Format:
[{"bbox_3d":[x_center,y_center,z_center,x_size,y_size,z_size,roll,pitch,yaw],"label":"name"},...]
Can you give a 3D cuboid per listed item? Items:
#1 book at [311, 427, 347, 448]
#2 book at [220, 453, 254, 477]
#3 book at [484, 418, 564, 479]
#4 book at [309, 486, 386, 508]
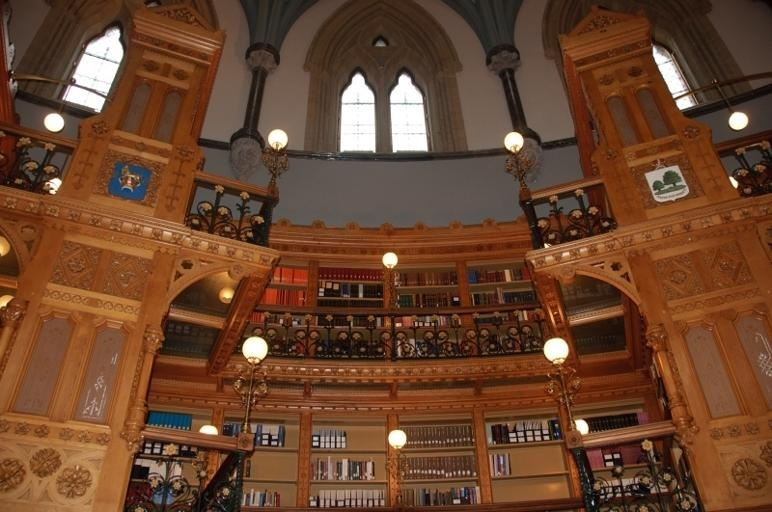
[{"bbox_3d":[-0.913,2.905,7.859,0.428,0.209,0.293,2,-26,-5],"label":"book"},{"bbox_3d":[-1.452,2.050,4.795,0.261,0.225,0.268,-22,-36,33],"label":"book"},{"bbox_3d":[2.181,3.057,7.678,0.806,0.699,0.257,-2,-22,1],"label":"book"},{"bbox_3d":[-0.585,3.620,7.338,1.205,0.200,0.308,-1,-14,-2],"label":"book"}]
